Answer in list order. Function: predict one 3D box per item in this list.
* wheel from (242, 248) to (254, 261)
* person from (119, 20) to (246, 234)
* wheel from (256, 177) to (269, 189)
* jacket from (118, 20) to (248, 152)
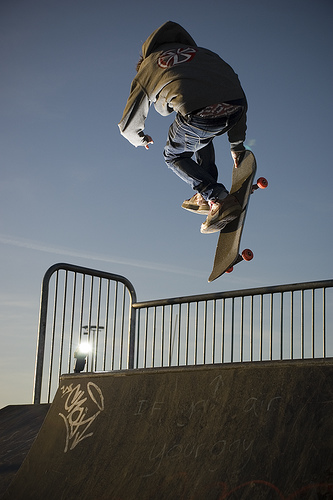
[{"bbox_3d":[0.857,0.054,4.466,0.104,0.112,0.347,1,-4,9],"label":"wheel"},{"bbox_3d":[0.226,-1.428,4.677,1.324,2.366,1.116,-1,-5,30],"label":"person"},{"bbox_3d":[1.068,-0.758,4.725,0.115,0.109,0.079,0,-4,21],"label":"wheel"},{"bbox_3d":[0.149,-1.860,4.736,1.411,1.699,0.950,-9,-19,-15],"label":"jacket"}]
